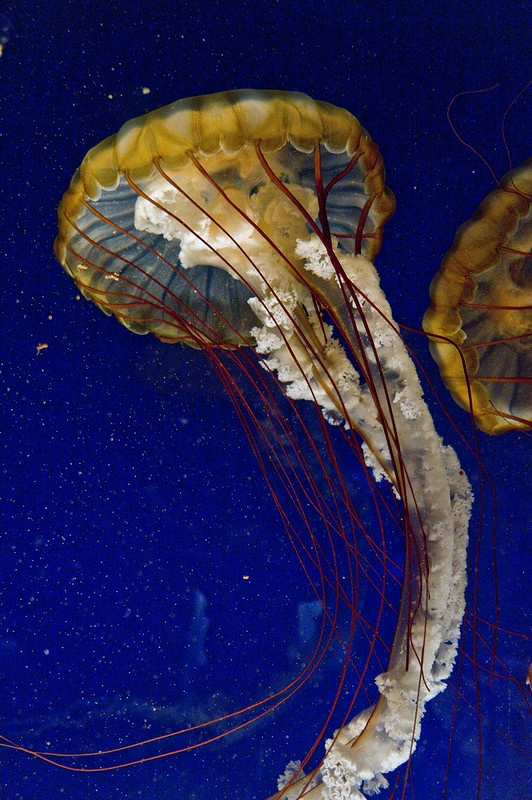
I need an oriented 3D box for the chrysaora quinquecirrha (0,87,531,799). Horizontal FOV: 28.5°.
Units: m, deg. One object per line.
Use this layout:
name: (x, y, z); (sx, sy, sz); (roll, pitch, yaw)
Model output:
chrysaora quinquecirrha: (0.294, 0.165, 3.507); (1.631, 0.685, 2.050); (-8, 89, 7)
